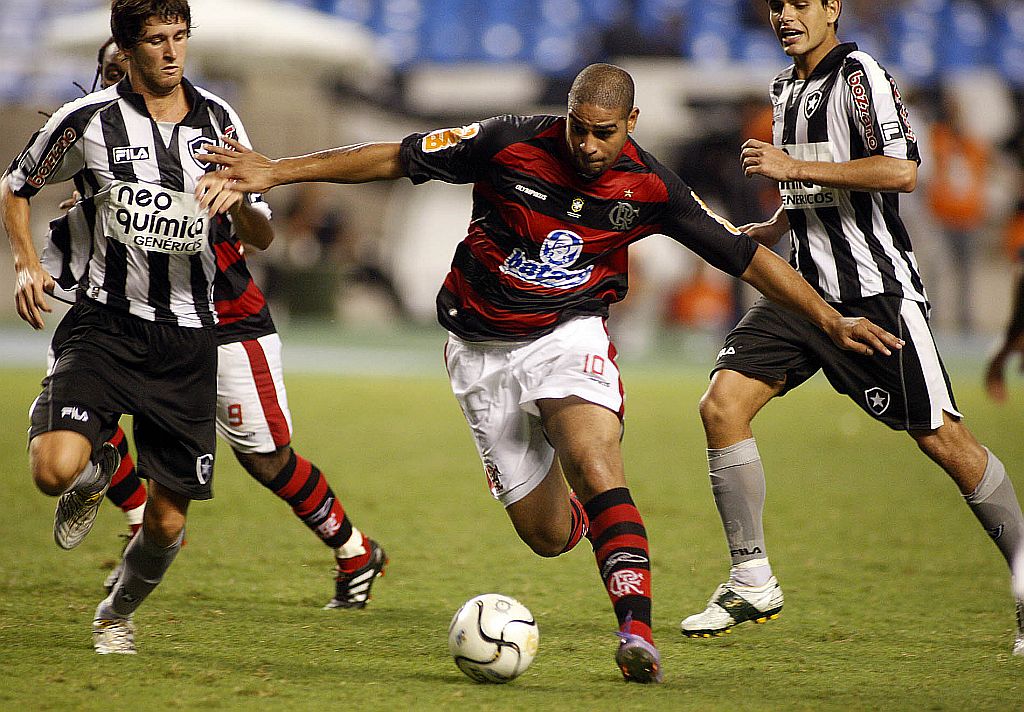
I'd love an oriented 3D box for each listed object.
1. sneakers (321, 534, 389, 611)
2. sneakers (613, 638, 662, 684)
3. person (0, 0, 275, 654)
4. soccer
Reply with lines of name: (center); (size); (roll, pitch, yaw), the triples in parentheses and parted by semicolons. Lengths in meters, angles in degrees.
sneakers: (-0.784, 1.100, 6.253); (0.153, 0.432, 0.219); (18, -4, 36)
sneakers: (0.512, 1.226, 5.235); (0.138, 0.232, 0.124); (-16, 43, 14)
person: (-1.654, -0.139, 5.555); (0.990, 2.775, 0.527); (-1, 8, -12)
soccer: (-0.081, 1.155, 5.368); (0.366, 0.332, 0.330); (10, 60, 1)
